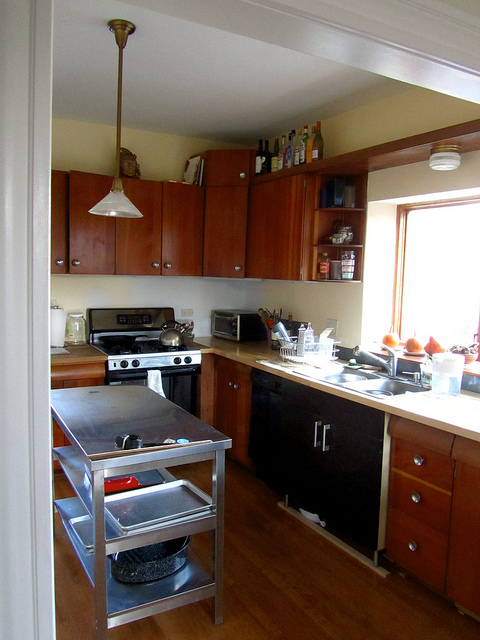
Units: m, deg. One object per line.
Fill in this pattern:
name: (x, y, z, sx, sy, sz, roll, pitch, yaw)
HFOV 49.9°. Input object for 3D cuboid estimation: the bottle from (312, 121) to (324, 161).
bottle: (0.498, -1.143, 3.319, 0.067, 0.274, 0.211, 1, 5, 8)

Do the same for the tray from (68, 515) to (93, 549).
tray: (-0.633, 0.860, 2.094, 0.103, 0.024, 0.181, -1, 17, -29)

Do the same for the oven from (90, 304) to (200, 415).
oven: (-0.756, 0.419, 3.952, 0.691, 0.909, 0.633, -3, 14, -26)

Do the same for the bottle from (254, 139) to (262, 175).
bottle: (0.138, -1.204, 3.857, 0.043, 0.232, 0.160, 0, 5, -8)

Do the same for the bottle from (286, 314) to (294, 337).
bottle: (0.384, 0.038, 3.985, 0.059, 0.160, 0.167, 1, 5, 5)

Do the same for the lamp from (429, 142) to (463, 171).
lamp: (0.985, -0.779, 2.469, 0.143, 0.105, 0.162, 3, 6, 21)

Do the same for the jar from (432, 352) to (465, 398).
jar: (0.993, 0.268, 2.466, 0.141, 0.208, 0.118, 1, 5, 9)

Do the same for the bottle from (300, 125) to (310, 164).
bottle: (0.420, -1.127, 3.364, 0.053, 0.208, 0.079, 0, 5, -11)

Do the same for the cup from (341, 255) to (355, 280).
cup: (0.673, -0.331, 3.239, 0.075, 0.153, 0.053, 1, 5, 4)

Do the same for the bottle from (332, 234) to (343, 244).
bottle: (0.616, -0.510, 3.257, 0.073, 0.063, 0.054, 3, 20, 10)

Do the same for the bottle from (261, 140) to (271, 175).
bottle: (0.201, -1.214, 3.895, 0.070, 0.254, 0.168, 1, 5, 9)

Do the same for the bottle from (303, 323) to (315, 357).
bottle: (0.452, 0.150, 3.337, 0.048, 0.178, 0.119, 4, 6, 36)

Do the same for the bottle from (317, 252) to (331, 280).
bottle: (0.548, -0.350, 3.366, 0.059, 0.173, 0.101, -2, 6, -23)

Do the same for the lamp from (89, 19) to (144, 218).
lamp: (-0.561, -0.912, 2.370, 0.203, 0.854, 0.296, 1, 5, 5)

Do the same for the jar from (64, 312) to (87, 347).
jar: (-1.259, 0.066, 3.917, 0.140, 0.238, 0.205, 1, 5, 1)

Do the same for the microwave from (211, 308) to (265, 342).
microwave: (0.014, -0.022, 4.344, 0.271, 0.195, 0.385, -2, 8, -25)

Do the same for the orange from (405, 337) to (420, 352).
orange: (1.005, 0.145, 3.013, 0.070, 0.082, 0.070, 1, 7, 35)

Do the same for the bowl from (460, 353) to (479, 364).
bowl: (1.204, 0.188, 2.710, 0.079, 0.049, 0.078, -2, 8, 0)
